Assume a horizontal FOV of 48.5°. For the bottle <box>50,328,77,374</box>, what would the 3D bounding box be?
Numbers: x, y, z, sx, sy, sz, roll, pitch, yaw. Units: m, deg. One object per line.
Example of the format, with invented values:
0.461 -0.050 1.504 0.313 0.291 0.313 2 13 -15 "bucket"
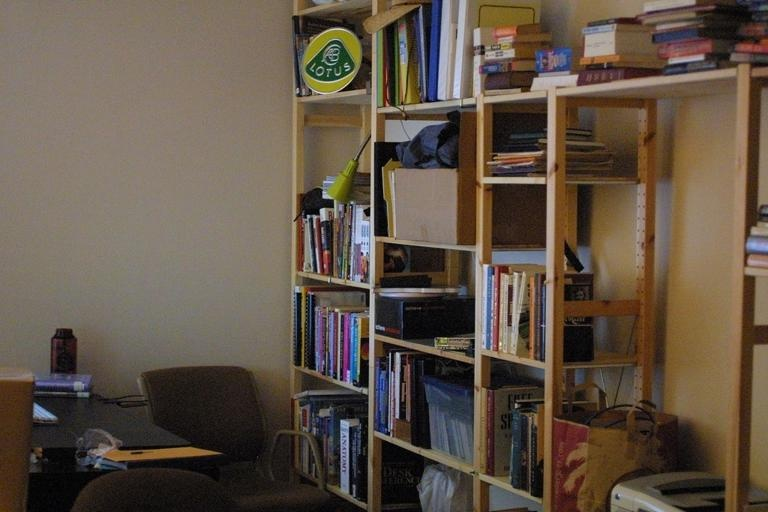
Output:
-1.766 0.525 4.702 0.134 0.243 0.227 -1 3 -22 "bottle"
